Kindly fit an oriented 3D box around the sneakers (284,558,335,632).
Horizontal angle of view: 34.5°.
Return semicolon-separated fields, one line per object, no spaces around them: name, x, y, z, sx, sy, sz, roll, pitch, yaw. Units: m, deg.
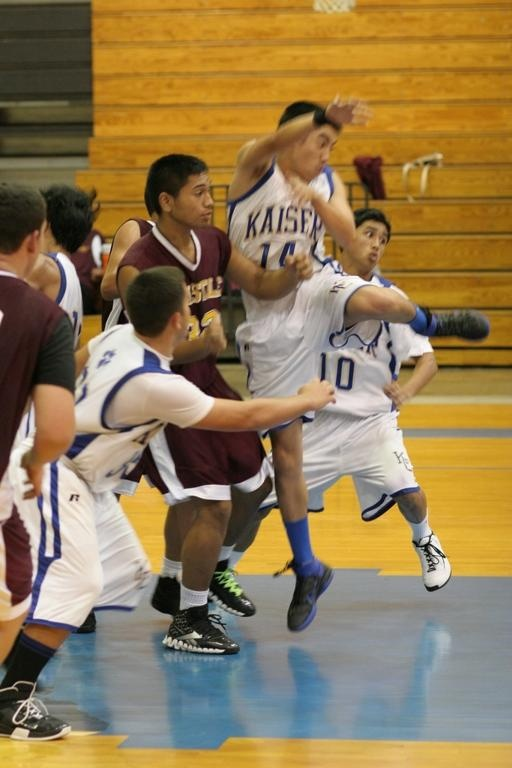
sneakers;0.151;0.644;2.513;0.084;0.101;0.233;-3;38;40

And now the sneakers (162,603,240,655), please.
sneakers;-0.161;0.710;2.389;0.270;0.134;0.096;3;-7;8

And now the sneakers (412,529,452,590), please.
sneakers;0.593;0.598;2.819;0.084;0.094;0.226;-32;23;13
